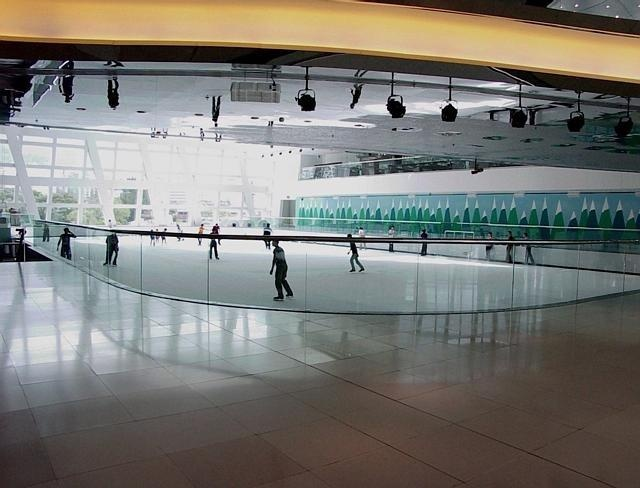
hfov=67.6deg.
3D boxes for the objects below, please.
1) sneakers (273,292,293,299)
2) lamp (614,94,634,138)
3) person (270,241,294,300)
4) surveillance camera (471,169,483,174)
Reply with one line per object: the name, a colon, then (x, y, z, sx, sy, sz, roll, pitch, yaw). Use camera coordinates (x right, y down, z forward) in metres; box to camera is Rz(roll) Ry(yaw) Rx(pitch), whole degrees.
sneakers: (-0.652, 0.937, 8.579, 0.365, 0.124, 0.112, -8, 0, 14)
lamp: (7.480, -3.029, 11.692, 0.328, 0.529, 2.199, 6, 9, 31)
person: (-0.698, 0.504, 8.403, 0.384, 1.067, 0.092, 4, 10, 17)
surveillance camera: (8.523, -3.979, 26.136, 0.582, 0.330, 0.754, -3, 8, -22)
